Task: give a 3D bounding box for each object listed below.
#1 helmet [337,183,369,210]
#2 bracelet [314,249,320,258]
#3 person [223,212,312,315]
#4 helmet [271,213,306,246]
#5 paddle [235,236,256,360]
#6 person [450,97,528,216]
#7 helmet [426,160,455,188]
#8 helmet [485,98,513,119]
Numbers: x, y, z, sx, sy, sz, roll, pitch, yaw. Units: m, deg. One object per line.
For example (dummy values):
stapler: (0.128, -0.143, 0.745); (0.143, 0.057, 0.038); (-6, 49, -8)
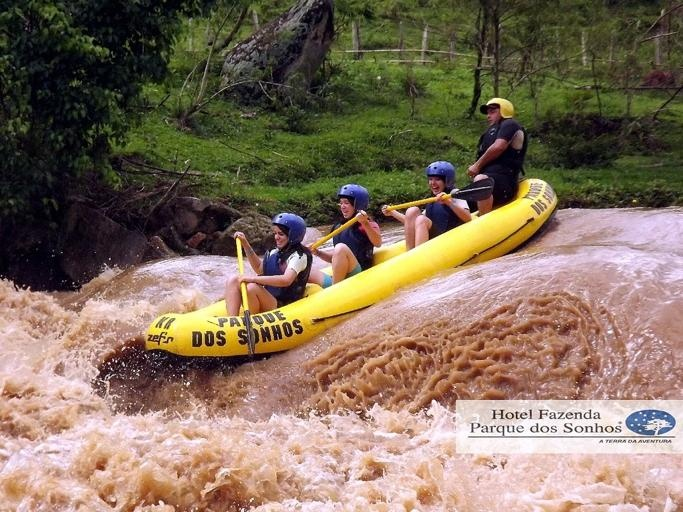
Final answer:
helmet: (0.160, -0.823, 11.323); (0.360, 0.294, 0.320); (-7, 16, -14)
bracelet: (-0.330, -0.033, 11.405); (0.082, 0.031, 0.096); (-37, 33, -12)
person: (-1.030, 0.140, 11.520); (0.956, 1.525, 0.807); (37, -34, -28)
helmet: (-0.664, -0.348, 10.811); (0.437, 0.386, 0.325); (7, 0, -18)
paddle: (-1.250, 0.411, 10.693); (0.219, 0.097, 1.974); (11, 38, -23)
person: (2.265, -1.236, 12.305); (0.751, 2.139, 0.906); (8, -9, -4)
helmet: (1.414, -1.167, 11.912); (0.411, 0.336, 0.304); (-19, 30, -30)
helmet: (2.350, -2.148, 12.251); (0.376, 0.295, 0.283); (-5, 12, -11)
